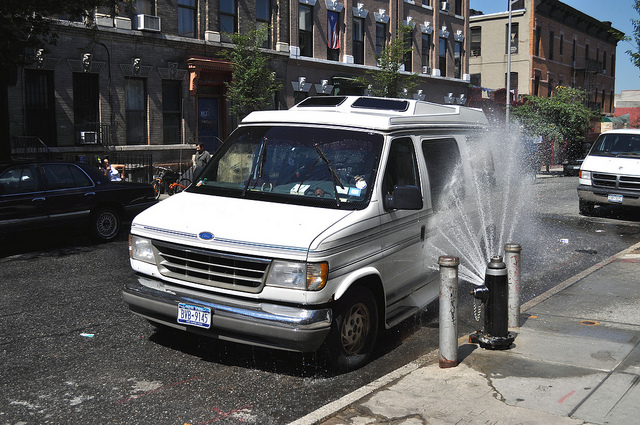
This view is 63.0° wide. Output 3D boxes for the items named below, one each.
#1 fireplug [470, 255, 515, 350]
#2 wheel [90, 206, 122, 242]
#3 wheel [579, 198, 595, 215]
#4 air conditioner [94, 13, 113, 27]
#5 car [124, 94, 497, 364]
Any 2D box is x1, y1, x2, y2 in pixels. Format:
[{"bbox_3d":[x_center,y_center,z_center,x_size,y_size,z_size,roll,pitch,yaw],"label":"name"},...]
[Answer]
[{"bbox_3d":[2.309,1.218,7.007,0.735,1.217,0.582,-1,4,-13],"label":"fireplug"},{"bbox_3d":[-5.408,0.273,13.089,0.309,0.861,0.887,0,-3,32],"label":"wheel"},{"bbox_3d":[8.967,-0.212,17.684,0.475,0.511,0.518,-1,9,0],"label":"wheel"},{"bbox_3d":[-9.143,-8.180,22.114,0.757,0.539,0.419,-6,13,-31],"label":"air conditioner"},{"bbox_3d":[-0.136,0.101,7.178,4.599,3.388,2.428,-7,13,-34],"label":"car"}]
